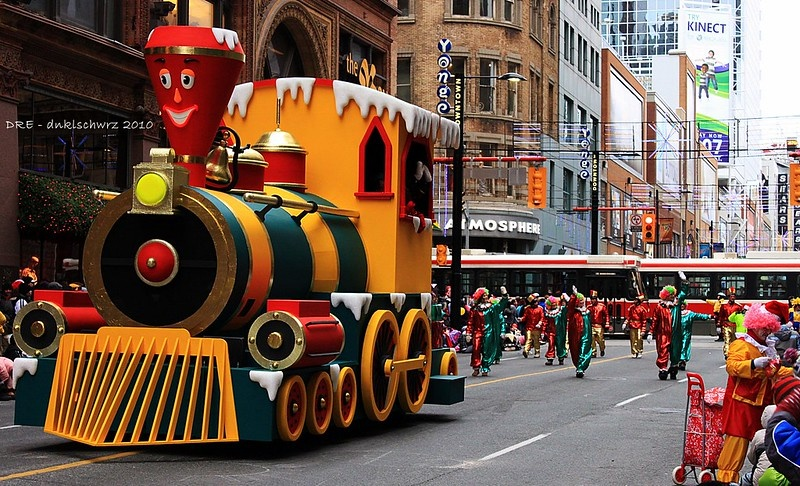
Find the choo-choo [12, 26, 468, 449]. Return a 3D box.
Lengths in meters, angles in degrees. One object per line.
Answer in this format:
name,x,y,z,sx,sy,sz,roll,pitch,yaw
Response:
choo-choo,-2.025,0.450,18.349,4.785,5.799,8.801,-1,-5,18

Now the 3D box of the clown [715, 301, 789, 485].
clown,4.813,1.991,13.205,0.772,2.531,0.727,0,0,4

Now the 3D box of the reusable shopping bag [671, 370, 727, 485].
reusable shopping bag,4.392,2.698,13.904,0.673,1.785,0.998,0,0,19

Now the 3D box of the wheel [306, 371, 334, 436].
wheel,-1.251,2.508,15.121,0.196,0.731,0.700,6,3,25

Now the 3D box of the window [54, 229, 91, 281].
window,-9.897,0.292,28.544,0.749,1.414,0.707,0,18,-27

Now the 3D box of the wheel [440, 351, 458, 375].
wheel,0.932,2.328,18.561,0.173,0.589,0.574,-4,-5,23

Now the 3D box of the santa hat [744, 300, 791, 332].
santa hat,5.016,1.033,13.170,0.513,0.474,0.554,-7,4,-30

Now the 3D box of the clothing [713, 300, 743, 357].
clothing,12.084,3.058,34.983,0.909,2.341,0.684,5,0,-5

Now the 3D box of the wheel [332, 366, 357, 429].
wheel,-0.899,2.517,15.734,0.250,0.909,1.000,1,-7,14
